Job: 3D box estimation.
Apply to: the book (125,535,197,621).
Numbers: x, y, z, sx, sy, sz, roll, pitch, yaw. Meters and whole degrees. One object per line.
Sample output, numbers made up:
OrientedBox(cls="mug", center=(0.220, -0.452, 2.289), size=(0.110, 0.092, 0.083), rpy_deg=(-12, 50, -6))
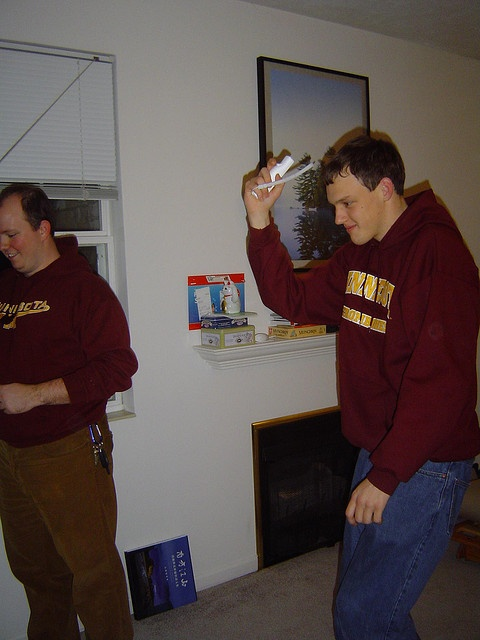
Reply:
OrientedBox(cls="book", center=(-0.324, 1.071, 2.123), size=(0.267, 0.035, 0.330), rpy_deg=(1, 37, 16))

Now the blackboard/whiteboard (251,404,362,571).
OrientedBox(cls="blackboard/whiteboard", center=(0.268, 0.760, 2.285), size=(0.740, 0.939, 0.080), rpy_deg=(-8, 10, -37))
